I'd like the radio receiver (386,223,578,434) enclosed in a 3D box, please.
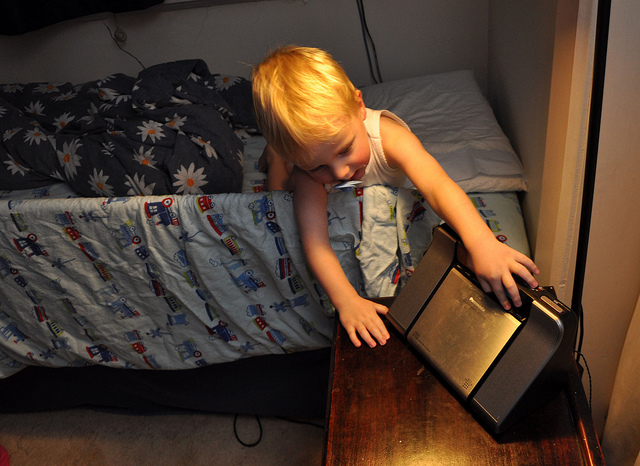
[{"bbox_3d":[0.354,0.178,1.084,0.244,0.282,0.397,-14,34,-21],"label":"radio receiver"}]

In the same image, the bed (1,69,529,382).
[{"bbox_3d":[-0.154,-0.159,1.734,1.642,1.018,0.464,-11,47,-9],"label":"bed"}]

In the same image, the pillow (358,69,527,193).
[{"bbox_3d":[0.425,-0.390,1.915,0.482,0.119,0.858,-8,37,6],"label":"pillow"}]
